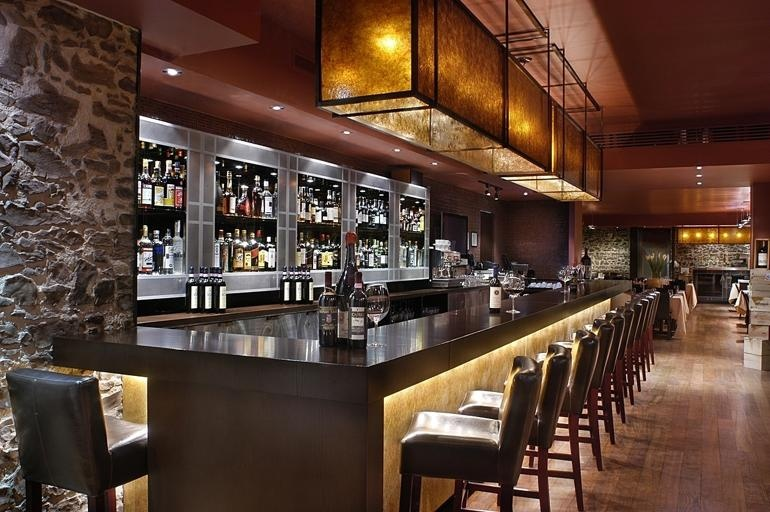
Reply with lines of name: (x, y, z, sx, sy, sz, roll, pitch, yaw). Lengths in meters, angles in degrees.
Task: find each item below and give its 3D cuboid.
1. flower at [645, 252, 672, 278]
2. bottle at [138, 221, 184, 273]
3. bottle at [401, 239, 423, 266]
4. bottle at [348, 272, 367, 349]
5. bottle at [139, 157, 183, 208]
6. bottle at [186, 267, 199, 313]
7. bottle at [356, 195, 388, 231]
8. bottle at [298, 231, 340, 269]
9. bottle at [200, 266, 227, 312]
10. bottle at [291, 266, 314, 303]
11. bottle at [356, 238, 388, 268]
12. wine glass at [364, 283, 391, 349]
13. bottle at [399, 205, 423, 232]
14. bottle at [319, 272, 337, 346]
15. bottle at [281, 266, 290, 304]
flower: (8.742, 0.247, 17.429, 0.868, 1.180, 0.977, -1, 0, 30)
bottle: (-2.051, -0.077, 4.964, 0.457, 0.622, 0.180, 1, 1, -44)
bottle: (0.389, -0.053, 8.346, 0.153, 0.536, 0.387, 2, 0, 40)
bottle: (-0.146, 0.315, 3.175, 0.121, 0.440, 0.143, 1, -1, -17)
bottle: (-2.010, -0.659, 4.935, 0.382, 0.449, 0.132, 1, -1, -29)
bottle: (-1.779, 0.308, 5.072, 0.113, 0.410, 0.080, 1, -1, -31)
bottle: (-0.204, -0.586, 7.476, 0.167, 0.478, 0.515, 0, -1, 29)
bottle: (-0.821, -0.073, 6.585, 0.154, 0.451, 0.462, 3, 1, 34)
bottle: (-1.644, 0.318, 5.195, 0.226, 0.425, 0.149, 1, -1, -25)
bottle: (-0.935, 0.332, 6.110, 0.183, 0.546, 0.389, 0, -2, 22)
bottle: (-0.203, -0.045, 7.493, 0.131, 0.398, 0.407, -1, -1, 34)
wine glass: (-0.055, 0.356, 3.472, 0.140, 0.371, 0.483, 0, -1, -2)
bottle: (0.397, -0.551, 8.301, 0.370, 0.413, 0.292, 1, -2, -18)
bottle: (-0.329, 0.308, 3.204, 0.107, 0.436, 0.179, 1, -1, -11)
bottle: (-1.082, 0.319, 6.009, 0.081, 0.395, 0.127, 0, -1, 44)
